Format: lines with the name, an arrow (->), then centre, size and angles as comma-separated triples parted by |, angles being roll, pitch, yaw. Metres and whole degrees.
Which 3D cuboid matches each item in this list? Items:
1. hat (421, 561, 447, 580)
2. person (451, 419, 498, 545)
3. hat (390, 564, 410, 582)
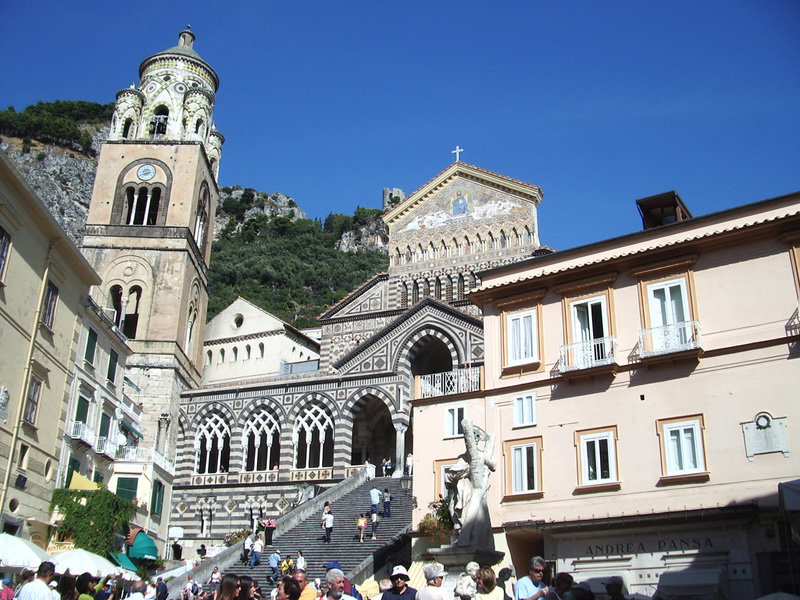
hat -> 0.511, 3.935, 10.423 | 0.230, 0.271, 0.818 | -2, -26, 6
person -> 1.800, 4.476, 17.381 | 1.004, 3.102, 1.228 | -2, -25, 6
hat -> 0.002, 3.624, 9.555 | 0.216, 0.216, 0.438 | 1, -26, -1
